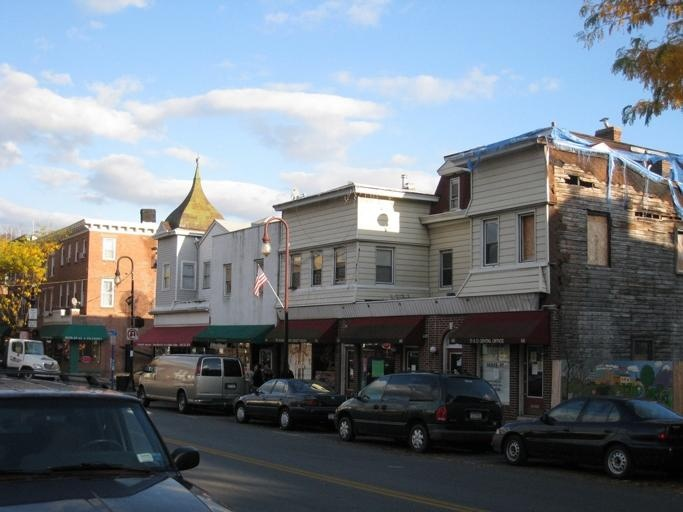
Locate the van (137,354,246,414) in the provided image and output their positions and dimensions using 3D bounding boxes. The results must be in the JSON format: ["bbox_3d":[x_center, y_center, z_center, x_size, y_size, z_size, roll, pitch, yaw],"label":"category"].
[{"bbox_3d":[-5.875,4.848,35.810,2.221,1.505,4.176,7,-6,-37],"label":"van"}]
